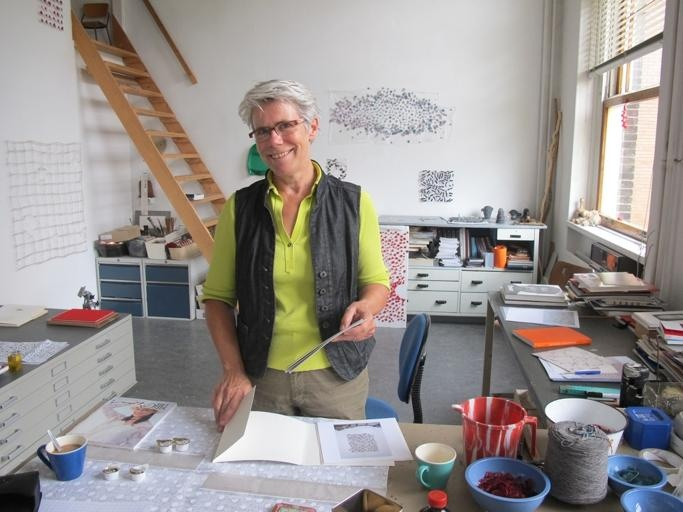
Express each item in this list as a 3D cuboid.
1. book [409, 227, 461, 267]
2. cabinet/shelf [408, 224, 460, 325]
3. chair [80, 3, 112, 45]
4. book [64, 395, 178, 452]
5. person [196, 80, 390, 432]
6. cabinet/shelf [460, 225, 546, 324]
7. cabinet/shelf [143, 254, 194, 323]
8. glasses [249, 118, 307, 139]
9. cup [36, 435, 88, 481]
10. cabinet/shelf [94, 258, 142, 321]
[{"bbox_3d":[1.018,-0.091,5.360,0.426,0.164,0.504,0,14,2],"label":"book"},{"bbox_3d":[0.960,0.312,5.466,0.657,0.749,0.592,-3,1,13],"label":"cabinet/shelf"},{"bbox_3d":[-2.920,-2.733,5.656,0.391,0.468,0.243,-2,13,-9],"label":"chair"},{"bbox_3d":[-0.758,0.562,1.655,0.274,0.023,0.274,3,12,11],"label":"book"},{"bbox_3d":[-0.176,0.004,1.852,0.706,1.276,0.337,2,13,5],"label":"person"},{"bbox_3d":[1.653,0.140,5.364,0.911,1.065,0.560,1,12,-1],"label":"cabinet/shelf"},{"bbox_3d":[-1.949,0.353,5.555,0.578,0.674,0.424,2,12,-3],"label":"cabinet/shelf"},{"bbox_3d":[-0.263,-0.457,1.752,0.233,0.072,0.113,5,13,22],"label":"glasses"},{"bbox_3d":[-0.835,0.595,1.416,0.144,0.082,0.095,0,8,0],"label":"cup"},{"bbox_3d":[-2.506,0.351,5.615,0.548,0.693,0.506,3,12,-3],"label":"cabinet/shelf"}]
